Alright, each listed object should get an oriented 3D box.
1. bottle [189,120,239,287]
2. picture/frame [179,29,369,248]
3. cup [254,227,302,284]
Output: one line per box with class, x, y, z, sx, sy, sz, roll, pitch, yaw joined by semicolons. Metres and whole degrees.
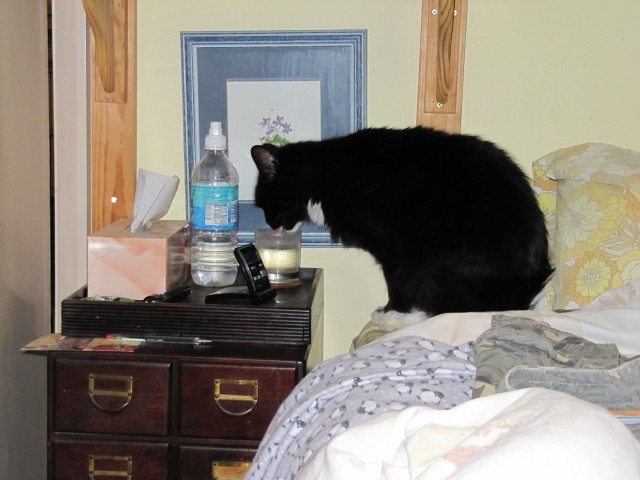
bottle;-0.324;-0.111;2.154;0.152;0.492;0.203;-2;14;-9
picture/frame;-0.136;-0.358;2.308;0.826;0.831;0.039;0;7;-1
cup;-0.114;0.051;2.236;0.167;0.162;0.157;-2;6;0
